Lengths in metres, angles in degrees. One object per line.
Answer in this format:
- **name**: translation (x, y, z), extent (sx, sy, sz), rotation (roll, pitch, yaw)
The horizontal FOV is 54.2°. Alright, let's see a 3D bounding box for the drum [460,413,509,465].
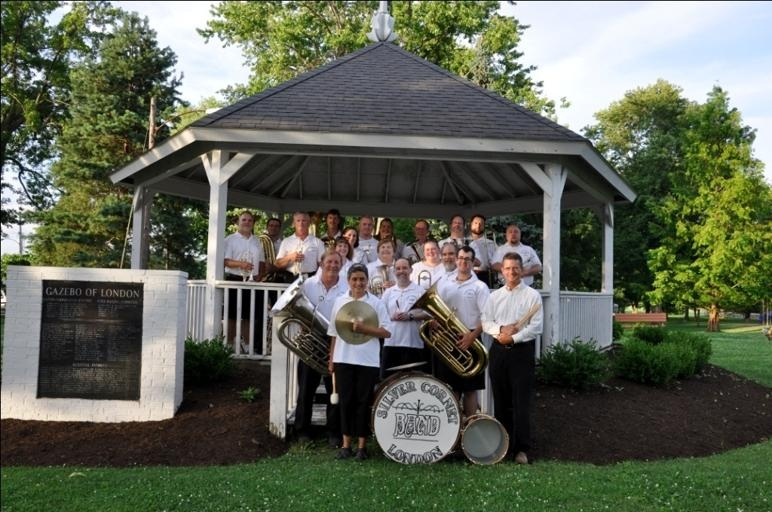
- **drum**: translation (1.563, 3.073, 12.671), extent (0.776, 0.786, 0.786), rotation (-26, -1, 3)

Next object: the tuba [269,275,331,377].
- **tuba**: translation (-1.437, 1.179, 12.571), extent (1.338, 1.724, 0.883), rotation (-4, -3, 17)

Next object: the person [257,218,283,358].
- **person**: translation (-2.531, 0.476, 16.261), extent (0.750, 2.527, 0.616), rotation (1, 0, -1)

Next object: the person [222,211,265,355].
- **person**: translation (-2.993, 0.666, 15.857), extent (0.972, 3.178, 0.906), rotation (8, -12, -36)

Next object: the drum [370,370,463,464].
- **drum**: translation (0.467, 2.647, 12.213), extent (1.417, 1.451, 0.787), rotation (1, 4, -6)

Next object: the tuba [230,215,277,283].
- **tuba**: translation (-2.939, -0.141, 16.091), extent (0.801, 1.416, 0.899), rotation (1, -1, 2)
